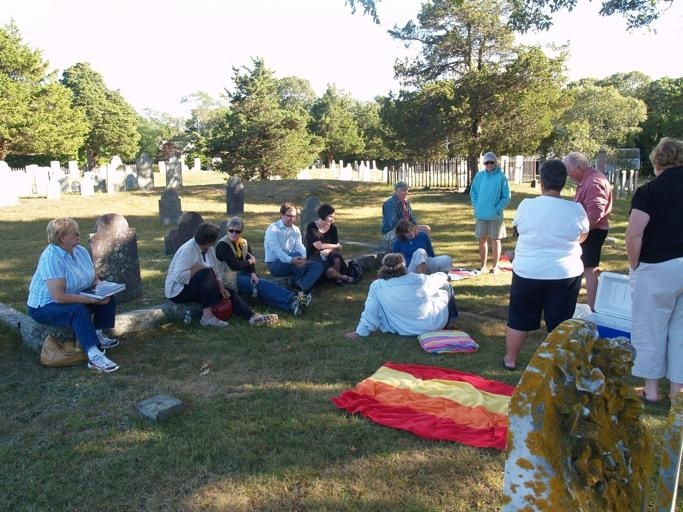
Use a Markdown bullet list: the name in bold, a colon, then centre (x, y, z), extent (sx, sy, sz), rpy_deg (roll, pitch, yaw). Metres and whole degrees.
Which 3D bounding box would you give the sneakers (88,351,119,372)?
- **sneakers**: centre (-2.624, 1.156, 6.579), extent (0.339, 0.172, 0.170), rpy_deg (4, 8, 21)

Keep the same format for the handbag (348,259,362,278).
- **handbag**: centre (0.257, 0.172, 10.051), extent (0.208, 0.430, 0.387), rpy_deg (-3, 1, 17)

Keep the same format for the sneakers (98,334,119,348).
- **sneakers**: centre (-2.793, 1.002, 7.074), extent (0.293, 0.137, 0.107), rpy_deg (0, 10, -41)

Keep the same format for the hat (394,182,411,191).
- **hat**: centre (1.045, -1.214, 10.095), extent (0.194, 0.114, 0.157), rpy_deg (-13, 21, -17)

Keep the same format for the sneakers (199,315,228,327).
- **sneakers**: centre (-1.676, 0.846, 7.809), extent (0.352, 0.158, 0.146), rpy_deg (1, 2, 3)

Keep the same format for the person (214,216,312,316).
- **person**: centre (-1.108, 0.094, 8.419), extent (1.446, 1.166, 0.626), rpy_deg (12, 19, 33)

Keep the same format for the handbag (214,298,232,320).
- **handbag**: centre (-1.573, 0.707, 8.007), extent (0.236, 0.263, 0.261), rpy_deg (-13, 3, 17)

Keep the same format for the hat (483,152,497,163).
- **hat**: centre (2.404, -1.655, 9.689), extent (0.144, 0.161, 0.201), rpy_deg (2, -35, 24)

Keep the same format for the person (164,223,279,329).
- **person**: centre (-1.589, 0.237, 7.978), extent (1.409, 1.463, 0.706), rpy_deg (1, -1, 13)

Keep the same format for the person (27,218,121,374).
- **person**: centre (-2.975, 0.392, 6.767), extent (1.101, 1.678, 0.634), rpy_deg (1, 7, 13)

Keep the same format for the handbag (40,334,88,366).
- **handbag**: centre (-3.115, 1.088, 6.646), extent (0.537, 0.432, 0.301), rpy_deg (4, -9, -27)

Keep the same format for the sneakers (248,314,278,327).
- **sneakers**: centre (-1.029, 0.850, 7.918), extent (0.385, 0.194, 0.153), rpy_deg (-10, 40, 6)

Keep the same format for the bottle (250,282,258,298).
- **bottle**: centre (-1.250, 0.484, 8.576), extent (0.148, 0.164, 0.113), rpy_deg (12, -4, -32)

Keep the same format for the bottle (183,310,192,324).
- **bottle**: centre (-2.057, 0.810, 7.921), extent (0.116, 0.213, 0.114), rpy_deg (-1, -28, -1)

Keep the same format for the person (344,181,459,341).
- **person**: centre (0.804, 0.477, 7.555), extent (1.316, 1.053, 0.552), rpy_deg (0, 7, 0)
